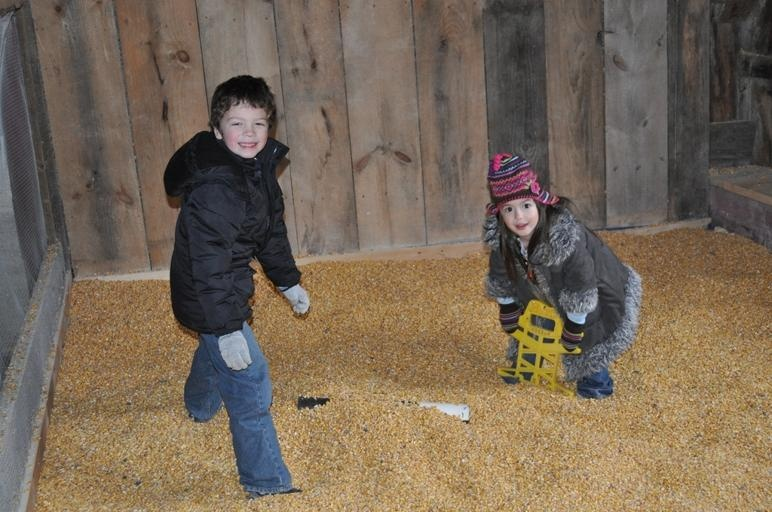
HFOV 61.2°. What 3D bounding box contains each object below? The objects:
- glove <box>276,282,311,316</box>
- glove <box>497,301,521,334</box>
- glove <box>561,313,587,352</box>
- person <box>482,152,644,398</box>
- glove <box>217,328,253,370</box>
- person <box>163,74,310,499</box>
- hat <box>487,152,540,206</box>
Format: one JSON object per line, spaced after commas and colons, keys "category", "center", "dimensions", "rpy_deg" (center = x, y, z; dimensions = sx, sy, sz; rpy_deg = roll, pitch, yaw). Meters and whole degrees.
{"category": "glove", "center": [-0.587, 0.279, 4.089], "dimensions": [0.120, 0.235, 0.082], "rpy_deg": [-30, 3, 6]}
{"category": "glove", "center": [0.712, 0.373, 3.882], "dimensions": [0.164, 0.198, 0.116], "rpy_deg": [0, 4, 10]}
{"category": "glove", "center": [1.053, 0.429, 3.629], "dimensions": [0.144, 0.272, 0.139], "rpy_deg": [-6, 13, -6]}
{"category": "person", "center": [1.015, 0.148, 3.906], "dimensions": [0.930, 1.409, 0.828], "rpy_deg": [-2, 33, 9]}
{"category": "glove", "center": [-0.741, 0.466, 3.188], "dimensions": [0.138, 0.191, 0.068], "rpy_deg": [-8, 13, -17]}
{"category": "person", "center": [-0.792, 0.138, 3.413], "dimensions": [0.693, 2.072, 0.718], "rpy_deg": [-5, 12, -5]}
{"category": "hat", "center": [0.664, -0.430, 3.611], "dimensions": [0.239, 0.281, 0.267], "rpy_deg": [-31, 12, -4]}
